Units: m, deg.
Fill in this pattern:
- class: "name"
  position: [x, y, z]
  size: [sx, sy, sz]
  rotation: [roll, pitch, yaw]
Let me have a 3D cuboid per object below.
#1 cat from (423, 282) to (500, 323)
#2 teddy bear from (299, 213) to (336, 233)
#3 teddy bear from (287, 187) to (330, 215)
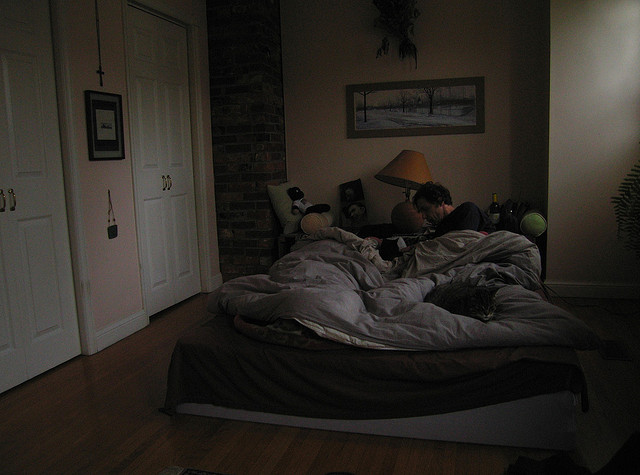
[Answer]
- class: "cat"
  position: [0.876, 0.352, 2.942]
  size: [0.429, 0.220, 0.404]
  rotation: [4, 7, 8]
- class: "teddy bear"
  position: [-0.024, -0.170, 4.948]
  size: [0.193, 0.200, 0.423]
  rotation: [-22, -7, 32]
- class: "teddy bear"
  position: [-0.120, -0.425, 5.196]
  size: [0.369, 0.289, 0.289]
  rotation: [-9, 6, 20]
